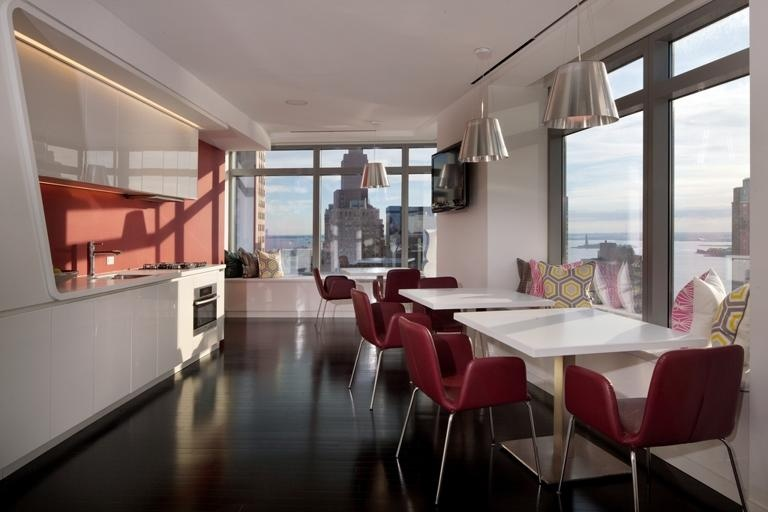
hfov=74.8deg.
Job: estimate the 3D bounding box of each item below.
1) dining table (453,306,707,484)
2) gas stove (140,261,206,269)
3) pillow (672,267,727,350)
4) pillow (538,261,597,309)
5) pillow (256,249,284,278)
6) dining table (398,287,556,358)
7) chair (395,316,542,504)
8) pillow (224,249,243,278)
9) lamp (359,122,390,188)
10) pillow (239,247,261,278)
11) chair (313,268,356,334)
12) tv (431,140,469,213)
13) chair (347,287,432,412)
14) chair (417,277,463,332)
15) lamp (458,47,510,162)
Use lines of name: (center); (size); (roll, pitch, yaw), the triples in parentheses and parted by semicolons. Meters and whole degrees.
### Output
dining table: (1.550, 1.106, 4.160); (1.439, 1.211, 1.496); (1, 1, -21)
gas stove: (-2.828, 0.138, 6.556); (0.853, 0.057, 0.607); (0, 7, 2)
pillow: (2.633, 0.452, 4.173); (0.556, 0.562, 0.304); (-15, 13, -36)
pillow: (2.022, 0.333, 5.573); (0.519, 0.490, 0.195); (1, -12, 16)
pillow: (-2.225, 0.165, 9.728); (0.522, 0.501, 0.198); (3, -15, -33)
dining table: (0.930, 0.493, 5.351); (1.025, 0.602, 1.003); (0, -1, -21)
chair: (0.608, 1.121, 4.109); (0.980, 1.308, 0.869); (-3, 8, -14)
pillow: (-2.872, 0.167, 9.575); (0.233, 0.433, 0.438); (-9, 13, 12)
lamp: (-0.159, -1.428, 8.600); (0.537, 0.908, 0.527); (0, -3, -1)
pillow: (-2.596, 0.151, 9.692); (0.219, 0.558, 0.553); (-18, -14, 37)
chair: (-0.901, 0.763, 8.897); (1.008, 1.331, 1.069); (-1, 1, -9)
tv: (0.876, -1.113, 7.232); (0.164, 1.002, 1.679); (2, 8, 24)
chair: (0.166, 0.989, 5.726); (1.094, 1.477, 1.192); (0, 0, -12)
chair: (0.711, 0.587, 6.088); (0.545, 0.707, 0.586); (2, -9, -10)
lamp: (0.983, -1.486, 4.959); (0.475, 1.001, 0.460); (-7, 10, -36)
